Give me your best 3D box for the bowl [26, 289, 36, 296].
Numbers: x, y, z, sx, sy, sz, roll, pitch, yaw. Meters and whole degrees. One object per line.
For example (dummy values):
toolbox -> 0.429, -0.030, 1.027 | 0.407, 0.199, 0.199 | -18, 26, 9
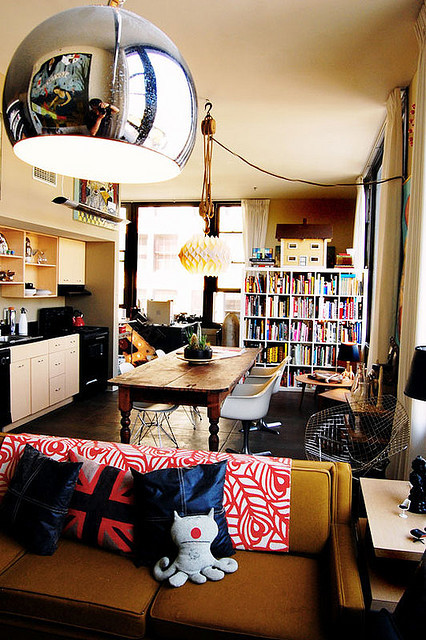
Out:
bowl -> -2.057, -0.310, 5.200 | 0.078, 0.055, 0.081 | 5, 3, 0

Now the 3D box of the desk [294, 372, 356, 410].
desk -> 1.232, 0.778, 4.913 | 0.476, 0.198, 0.492 | 1, 2, -4

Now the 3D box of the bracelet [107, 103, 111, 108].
bracelet -> -0.142, -0.295, 0.630 | 0.006, 0.006, 0.003 | -1, 7, -9

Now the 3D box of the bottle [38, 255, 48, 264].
bottle -> -2.066, -0.733, 5.589 | 0.096, 0.125, 0.045 | 14, -45, -20

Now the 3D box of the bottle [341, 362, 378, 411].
bottle -> 1.121, 0.489, 3.416 | 0.230, 0.398, 0.383 | 3, 5, 0

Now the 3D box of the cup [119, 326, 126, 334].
cup -> -1.428, 0.148, 7.280 | 0.085, 0.108, 0.154 | -1, 1, 13

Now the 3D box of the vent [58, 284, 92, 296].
vent -> -1.868, -0.414, 6.243 | 0.169, 0.143, 0.739 | 2, -1, 8

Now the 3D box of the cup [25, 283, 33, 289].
cup -> -2.116, -0.395, 5.337 | 0.062, 0.063, 0.084 | -2, -5, 28

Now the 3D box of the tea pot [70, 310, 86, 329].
tea pot -> -1.854, -0.015, 6.334 | 0.206, 0.233, 0.169 | -2, -3, 38

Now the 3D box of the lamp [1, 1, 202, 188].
lamp -> -0.200, -0.372, 0.843 | 0.336, 0.185, 0.452 | 2, -1, -6

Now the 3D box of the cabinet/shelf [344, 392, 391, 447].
cabinet/shelf -> 1.053, 0.683, 3.167 | 0.291, 0.374, 0.264 | 1, -6, 5

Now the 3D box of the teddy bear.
teddy bear -> -0.069, 0.763, 1.695 | 0.322, 0.274, 0.195 | 1, -17, -5

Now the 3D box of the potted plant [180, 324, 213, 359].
potted plant -> -0.137, 0.209, 4.251 | 0.275, 0.409, 0.286 | 0, -4, -3

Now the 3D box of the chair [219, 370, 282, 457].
chair -> 0.293, 0.731, 3.997 | 0.618, 0.906, 0.690 | 2, -5, 1

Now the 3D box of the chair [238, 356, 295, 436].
chair -> 0.513, 0.756, 4.558 | 0.649, 0.917, 0.690 | 1, -1, 5

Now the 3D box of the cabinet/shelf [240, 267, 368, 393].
cabinet/shelf -> 1.321, 0.106, 6.306 | 1.685, 1.755, 0.512 | 1, -1, 6

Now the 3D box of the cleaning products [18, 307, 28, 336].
cleaning products -> -2.157, 0.021, 5.231 | 0.087, 0.269, 0.325 | 2, -1, -24
